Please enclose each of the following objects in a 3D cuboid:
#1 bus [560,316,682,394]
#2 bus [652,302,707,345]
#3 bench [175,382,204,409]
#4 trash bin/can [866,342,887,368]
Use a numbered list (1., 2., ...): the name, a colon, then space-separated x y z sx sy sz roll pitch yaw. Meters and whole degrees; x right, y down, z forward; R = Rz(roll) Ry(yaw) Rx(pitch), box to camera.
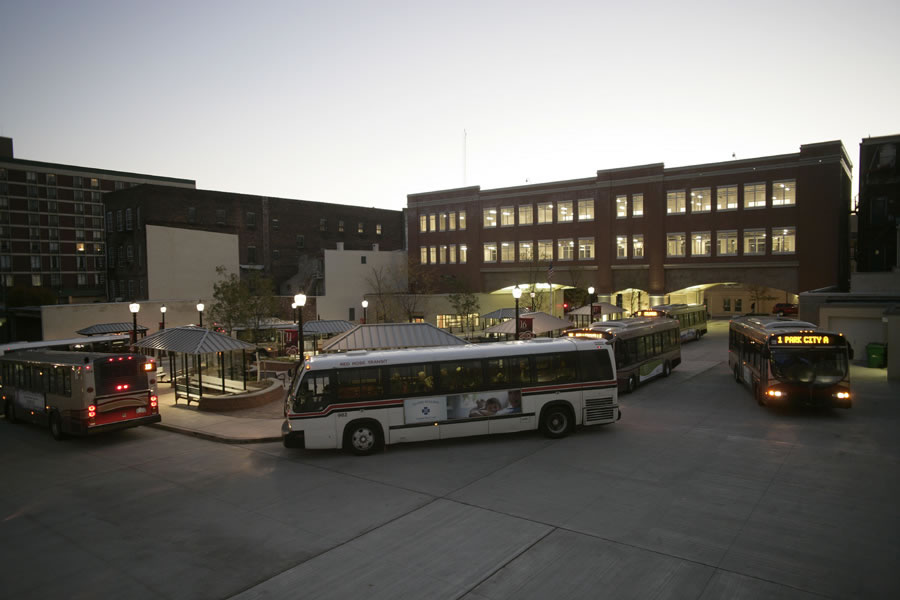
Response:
1. bus: 10.463 2.803 39.217 2.978 3.142 9.655 -4 -2 28
2. bus: 18.377 1.842 57.021 2.673 3.116 9.722 1 4 32
3. bench: -13.338 4.771 35.661 1.118 1.335 4.074 -5 1 -22
4. trash bin/can: 25.295 3.303 41.726 0.895 1.835 1.354 -4 5 -41
